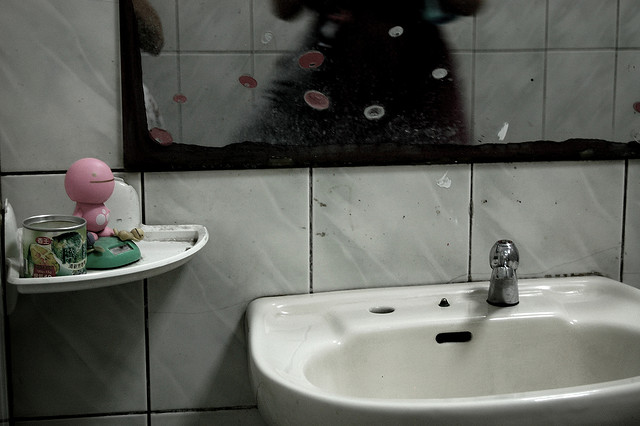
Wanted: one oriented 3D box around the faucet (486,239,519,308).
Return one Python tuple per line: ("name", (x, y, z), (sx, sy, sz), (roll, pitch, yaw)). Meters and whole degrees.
("faucet", (0.466, 0.146, 1.678), (0.074, 0.166, 0.078), (0, 4, -19))
